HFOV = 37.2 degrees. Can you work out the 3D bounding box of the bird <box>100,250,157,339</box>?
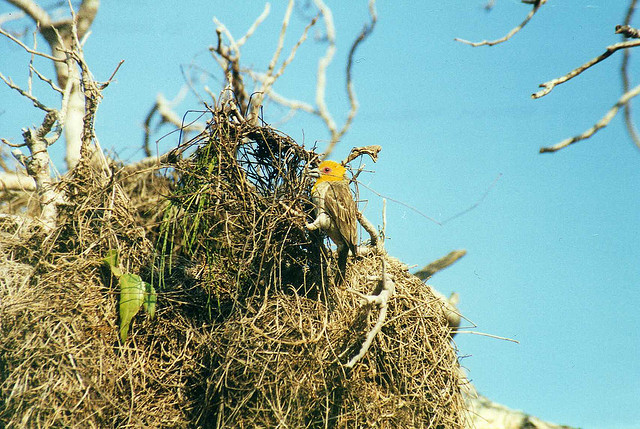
[{"bbox_3d":[-1.558,0.624,7.747,0.394,0.761,0.177,32,-55,-27],"label":"bird"}]
